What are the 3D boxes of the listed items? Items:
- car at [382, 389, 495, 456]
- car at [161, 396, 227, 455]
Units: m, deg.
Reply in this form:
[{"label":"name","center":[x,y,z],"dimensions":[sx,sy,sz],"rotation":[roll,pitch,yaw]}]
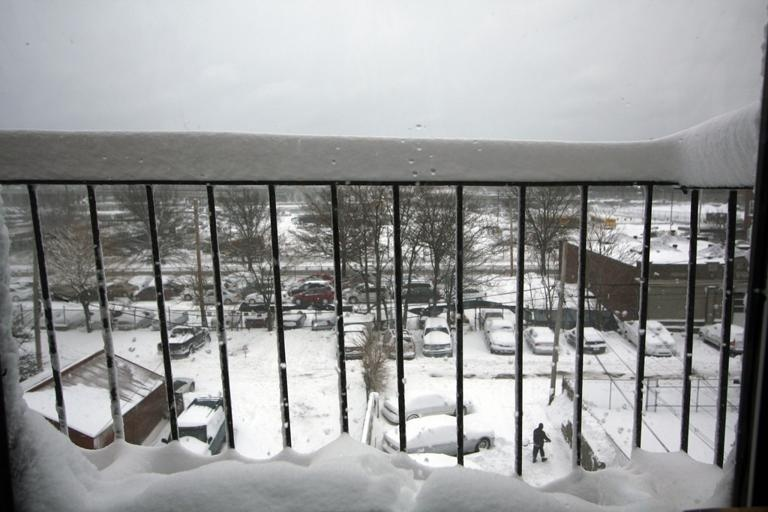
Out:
[{"label":"car","center":[0.859,2.765,9.566],"dimensions":[1.797,0.720,2.520],"rotation":[-1,-5,10]},{"label":"car","center":[-2.968,2.813,9.684],"dimensions":[0.727,0.756,1.624],"rotation":[2,-5,-17]}]
